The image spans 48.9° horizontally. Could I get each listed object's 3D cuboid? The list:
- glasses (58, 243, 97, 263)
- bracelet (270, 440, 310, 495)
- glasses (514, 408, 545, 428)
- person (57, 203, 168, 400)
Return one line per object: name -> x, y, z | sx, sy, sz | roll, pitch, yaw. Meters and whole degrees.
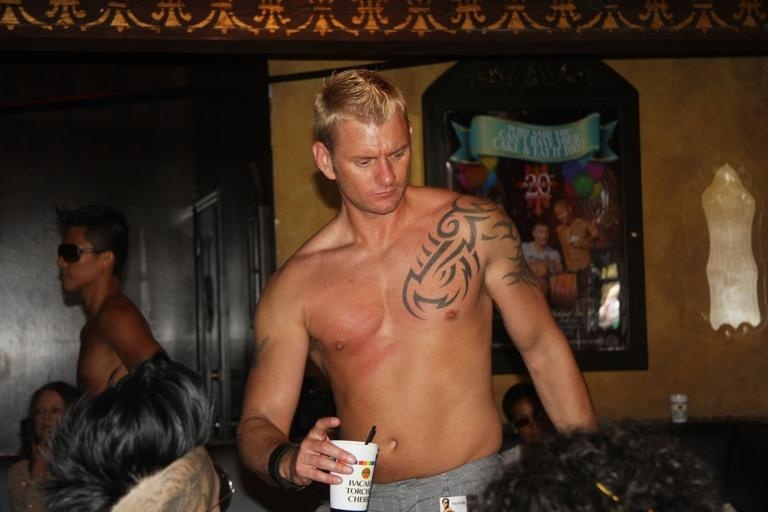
glasses -> -1.895, -0.022, 5.113 | 0.141, 0.057, 0.145 | -4, -8, 39
bracelet -> -0.376, 0.911, 3.559 | 0.202, 0.177, 0.079 | 28, -11, -3
glasses -> 0.962, 1.064, 5.551 | 0.109, 0.085, 0.147 | -3, 0, 5
person -> -1.701, 0.309, 5.181 | 0.710, 1.571, 0.886 | 0, -17, -18
